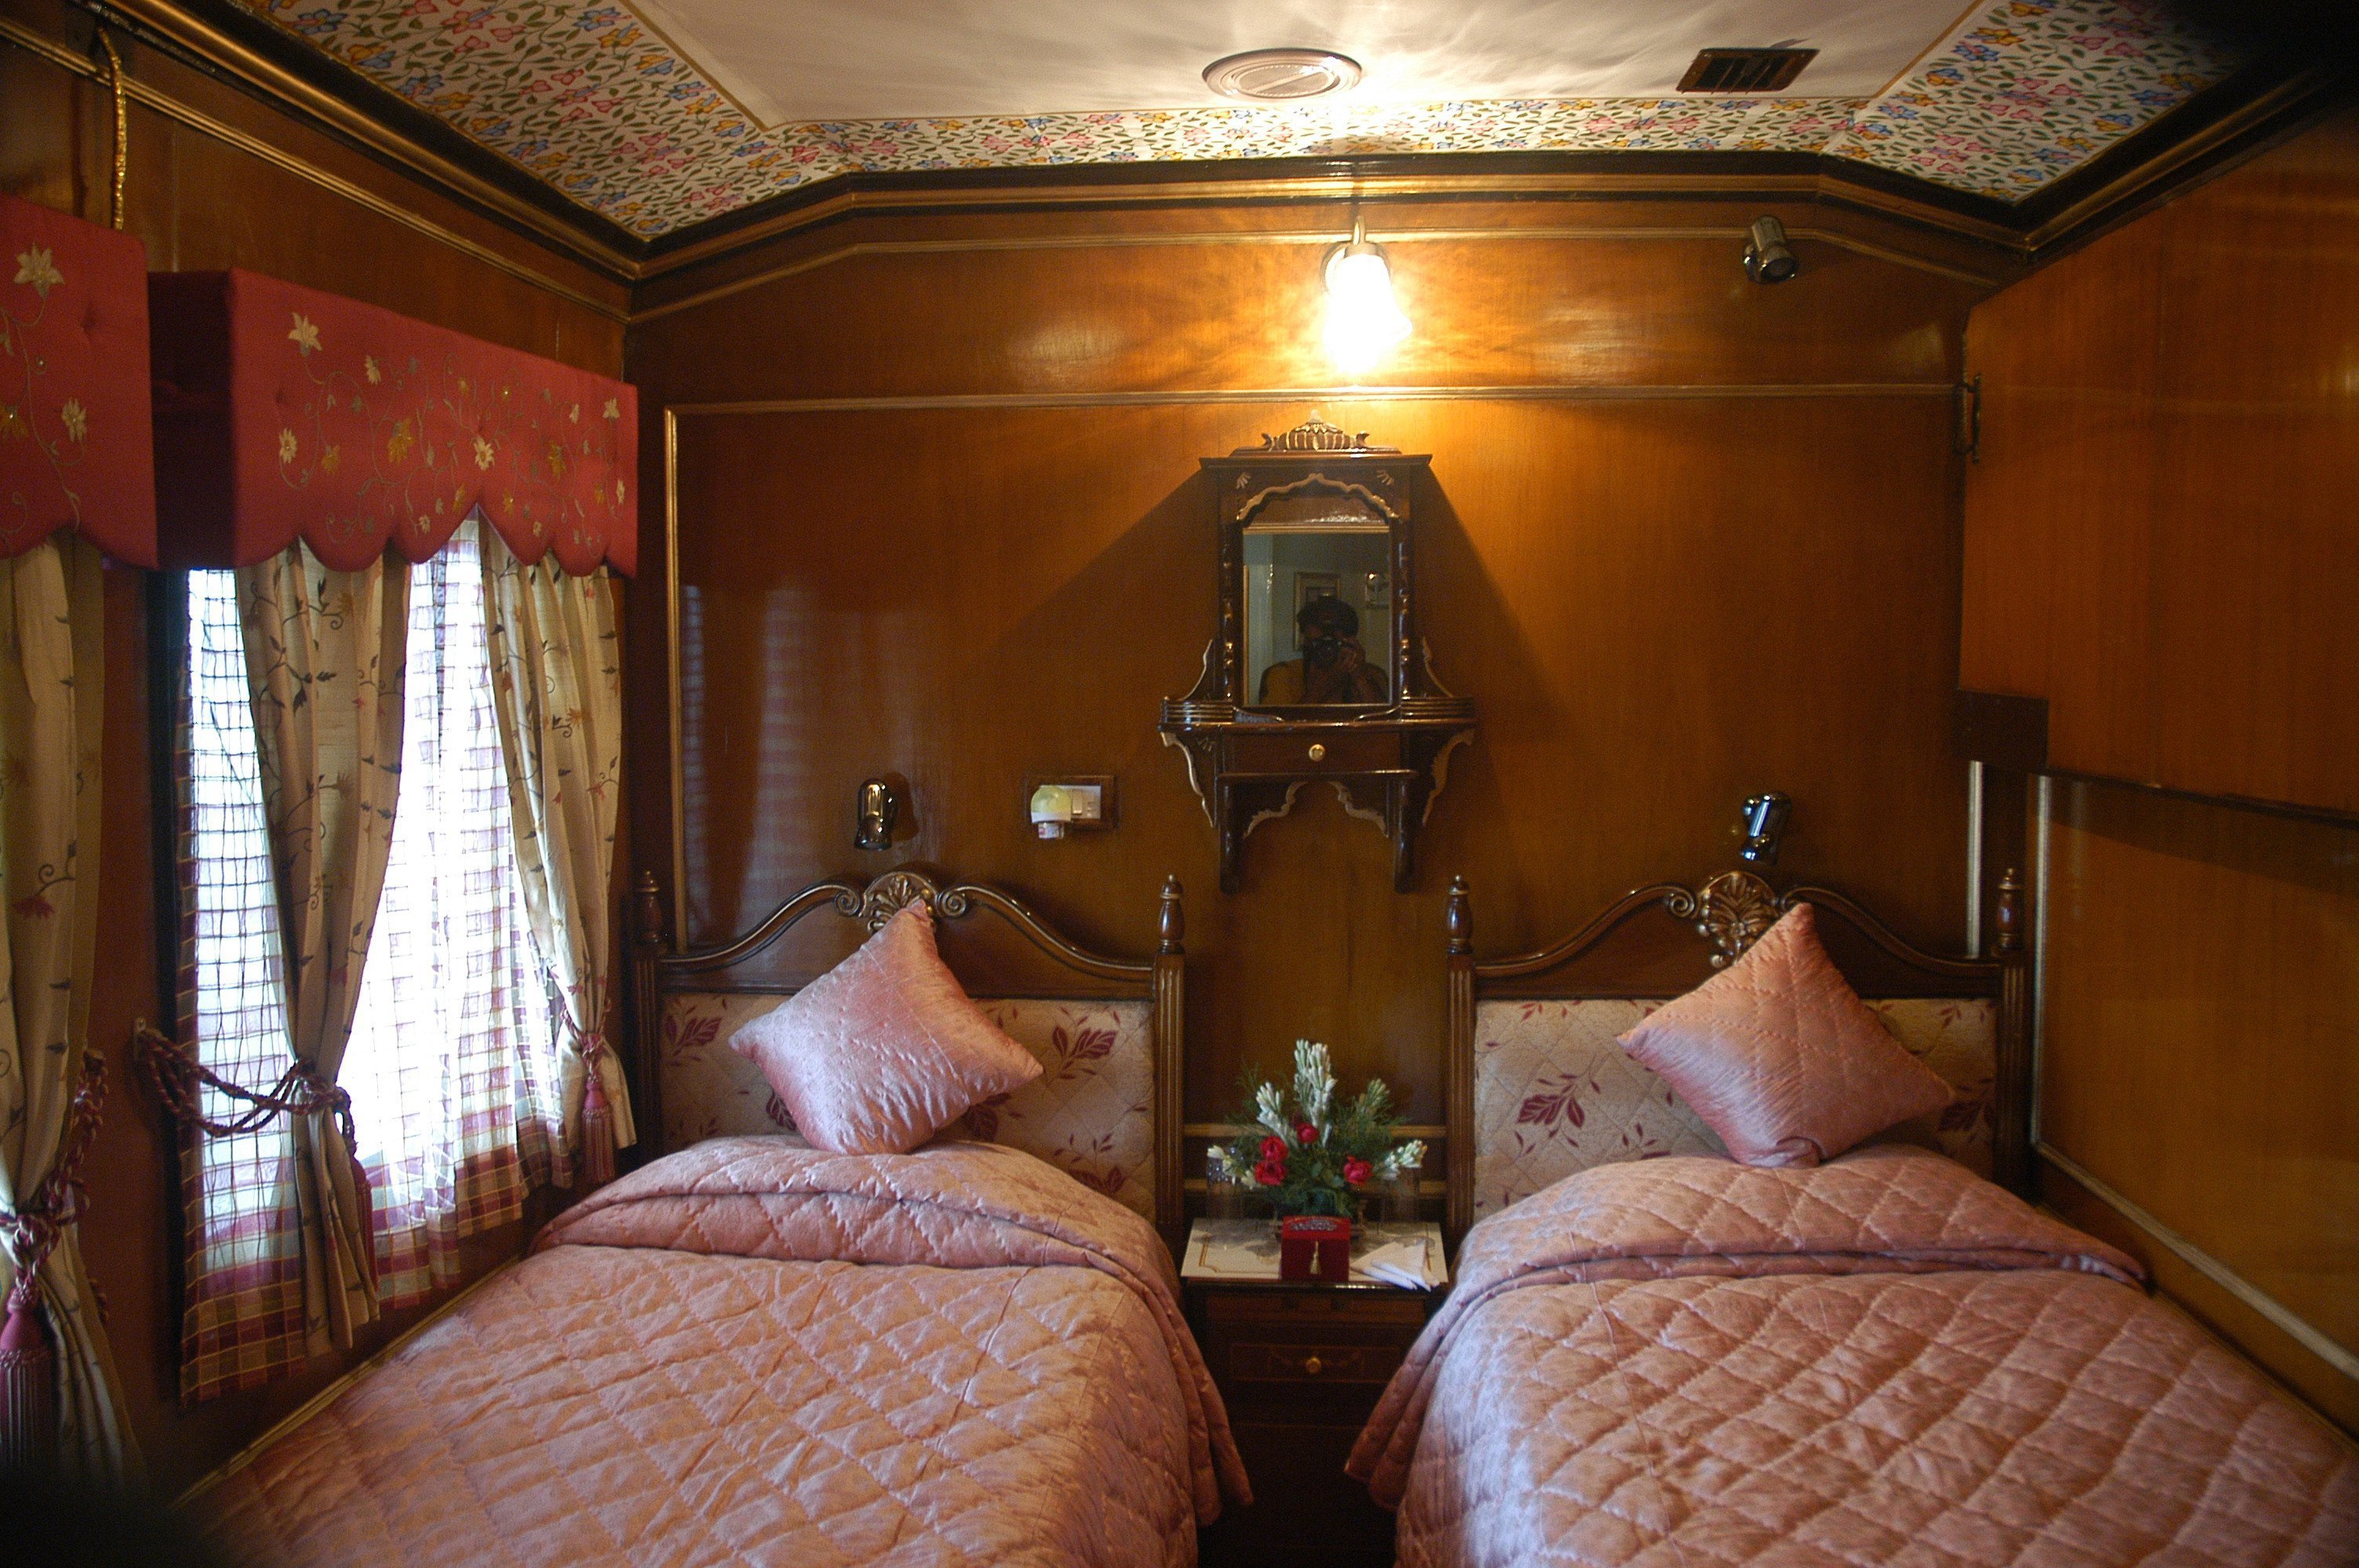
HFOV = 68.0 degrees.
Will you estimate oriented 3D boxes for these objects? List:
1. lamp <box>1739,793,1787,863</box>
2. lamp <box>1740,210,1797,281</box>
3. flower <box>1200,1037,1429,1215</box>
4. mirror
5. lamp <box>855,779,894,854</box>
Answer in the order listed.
[{"bbox_3d":[1.711,0.140,5.148,0.134,0.217,0.041,1,1,14],"label":"lamp"},{"bbox_3d":[1.724,-1.551,5.099,0.155,0.191,0.139,1,1,8],"label":"lamp"},{"bbox_3d":[0.366,1.134,5.204,0.493,0.505,0.496,-25,11,-28],"label":"flower"},{"bbox_3d":[0.438,-0.614,5.145,0.839,0.909,0.096,0,-1,1],"label":"mirror"},{"bbox_3d":[-0.915,0.085,5.302,0.111,0.202,0.044,1,1,-11],"label":"lamp"}]
